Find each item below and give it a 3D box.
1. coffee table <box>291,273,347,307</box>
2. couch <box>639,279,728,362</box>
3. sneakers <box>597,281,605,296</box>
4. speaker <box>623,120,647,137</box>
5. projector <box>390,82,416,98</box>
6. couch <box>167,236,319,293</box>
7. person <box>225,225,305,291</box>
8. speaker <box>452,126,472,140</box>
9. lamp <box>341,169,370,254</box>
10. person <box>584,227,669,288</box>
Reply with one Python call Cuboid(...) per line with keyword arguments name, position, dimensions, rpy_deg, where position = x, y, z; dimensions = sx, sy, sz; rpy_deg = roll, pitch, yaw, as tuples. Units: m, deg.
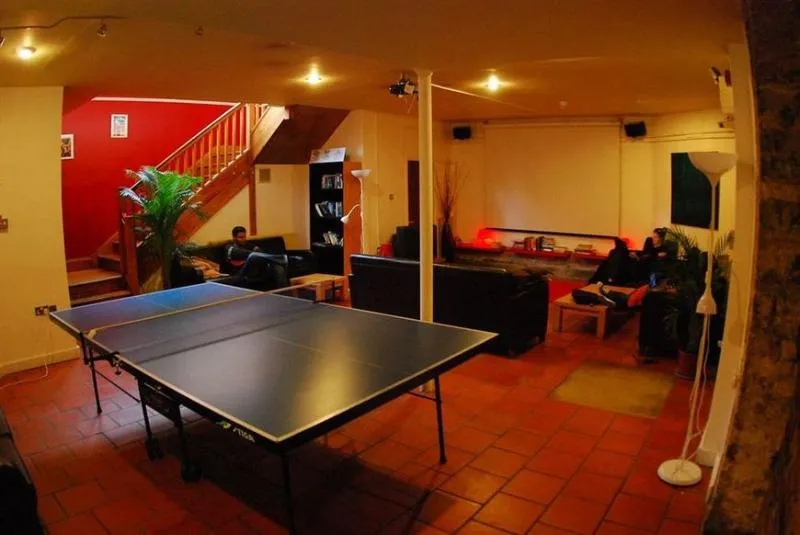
Cuboid(name="coffee table", position=(-1.209, 0.292, 9.731), dimensions=(0.655, 0.391, 0.667), rpy_deg=(6, 10, 37))
Cuboid(name="couch", position=(3.318, 0.629, 7.103), dimensions=(0.923, 0.973, 0.952), rpy_deg=(3, 4, 34))
Cuboid(name="sneakers", position=(2.755, 0.286, 8.125), dimensions=(0.123, 0.147, 0.157), rpy_deg=(12, 23, 34))
Cuboid(name="speaker", position=(4.279, -2.526, 10.898), dimensions=(0.323, 0.251, 0.317), rpy_deg=(-20, 21, -41))
Cuboid(name="projector", position=(0.039, -2.420, 8.081), dimensions=(0.366, 0.162, 0.567), rpy_deg=(0, 13, 2))
Cuboid(name="couch", position=(-2.326, 0.017, 10.219), dimensions=(0.741, 0.908, 2.233), rpy_deg=(-1, 7, 24))
Cuboid(name="person", position=(-2.258, -0.113, 9.820), dimensions=(1.095, 1.185, 0.643), rpy_deg=(-11, 3, 8))
Cuboid(name="speaker", position=(1.285, -2.858, 12.706), dimensions=(0.476, 0.313, 0.231), rpy_deg=(3, 13, 18))
Cuboid(name="lamp", position=(-0.749, -0.928, 10.254), dimensions=(0.508, 1.546, 1.561), rpy_deg=(-2, 13, -3))
Cuboid(name="person", position=(3.910, -0.045, 9.998), dimensions=(1.199, 1.320, 0.835), rpy_deg=(4, -27, 23))
